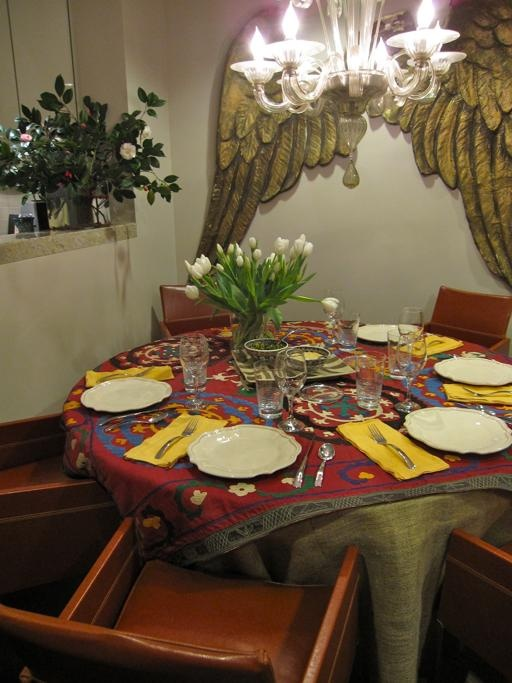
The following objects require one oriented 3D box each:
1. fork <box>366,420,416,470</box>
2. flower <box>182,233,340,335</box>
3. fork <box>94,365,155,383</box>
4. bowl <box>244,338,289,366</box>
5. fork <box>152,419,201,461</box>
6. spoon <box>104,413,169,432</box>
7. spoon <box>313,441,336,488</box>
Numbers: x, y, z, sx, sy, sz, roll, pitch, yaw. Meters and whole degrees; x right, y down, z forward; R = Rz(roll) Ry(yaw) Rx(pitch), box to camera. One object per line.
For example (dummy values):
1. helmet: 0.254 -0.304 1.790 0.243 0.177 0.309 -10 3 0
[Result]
1. fork: 0.303 0.237 1.085 0.026 0.021 0.147 -1 19 -12
2. flower: -0.050 -0.168 1.738 0.447 0.312 0.377 -9 10 -27
3. fork: -0.453 0.109 1.584 0.134 0.024 0.070 -4 8 -19
4. bowl: 0.036 0.022 1.564 0.099 0.043 0.094 0 21 0
5. fork: -0.186 0.227 1.148 0.028 0.024 0.166 2 24 22
6. spoon: -0.322 0.209 1.262 0.187 0.030 0.052 -8 14 -3
7. spoon: 0.142 0.266 1.025 0.033 0.022 0.160 7 21 13
